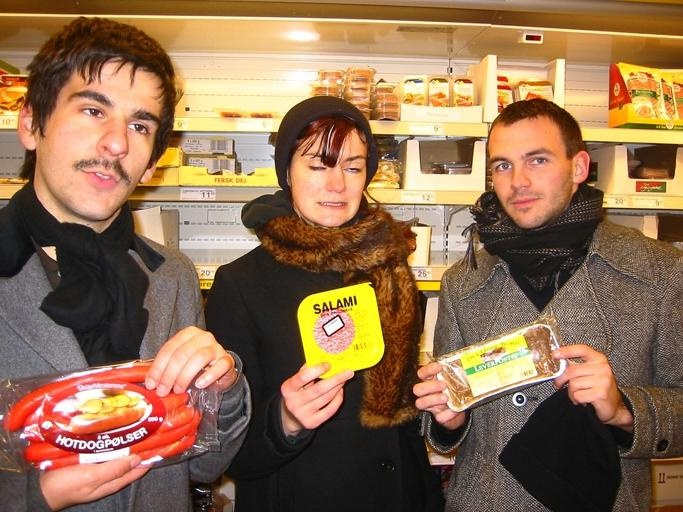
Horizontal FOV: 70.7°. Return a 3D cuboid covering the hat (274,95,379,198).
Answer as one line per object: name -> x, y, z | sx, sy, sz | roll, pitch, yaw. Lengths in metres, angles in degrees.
hat -> -0.018, -0.466, 1.934 | 0.454, 0.269, 0.396 | -3, -5, -24
